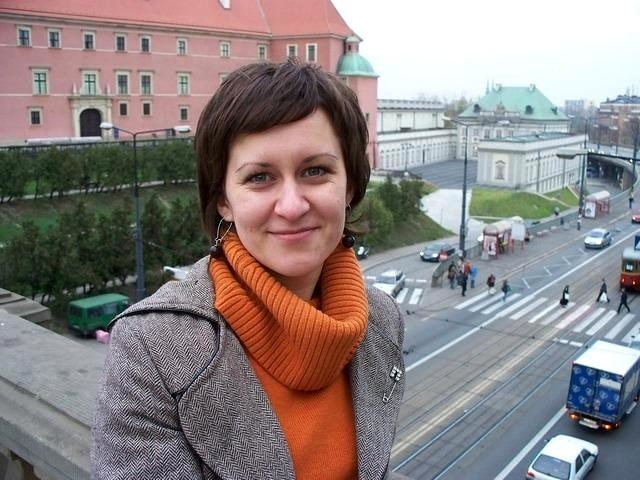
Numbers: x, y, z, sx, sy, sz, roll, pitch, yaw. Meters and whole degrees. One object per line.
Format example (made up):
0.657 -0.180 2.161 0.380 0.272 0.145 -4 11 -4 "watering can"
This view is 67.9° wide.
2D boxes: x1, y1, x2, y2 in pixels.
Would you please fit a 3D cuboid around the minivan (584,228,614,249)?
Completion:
22.230 -0.303 37.910 1.375 1.145 2.856 1 4 32 "minivan"

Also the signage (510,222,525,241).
15.360 -0.890 36.994 1.087 1.587 0.807 1 12 13 "signage"
